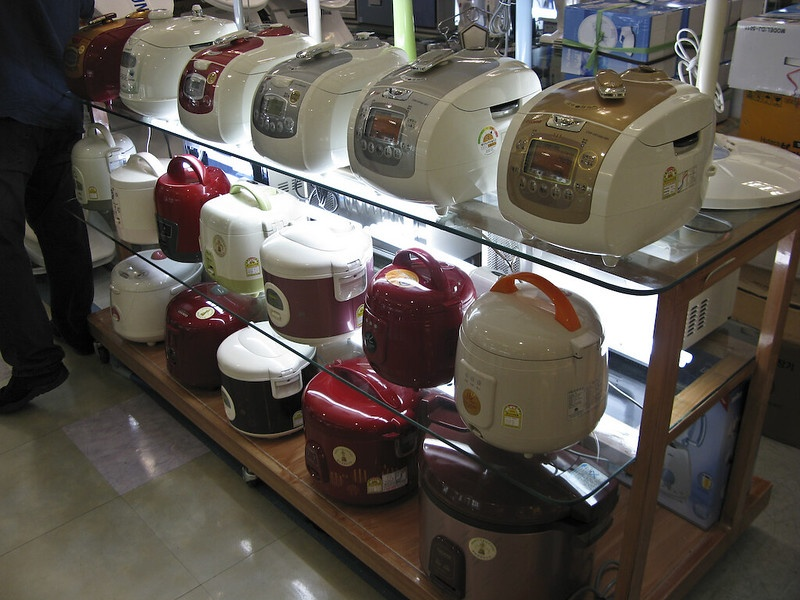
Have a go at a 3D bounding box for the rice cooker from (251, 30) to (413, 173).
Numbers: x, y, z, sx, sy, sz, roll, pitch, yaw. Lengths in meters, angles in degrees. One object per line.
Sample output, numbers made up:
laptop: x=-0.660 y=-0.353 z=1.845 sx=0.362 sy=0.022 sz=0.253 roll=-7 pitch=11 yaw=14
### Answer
rice cooker: x=-0.150 y=-0.471 z=1.449 sx=0.365 sy=0.274 sz=0.222 roll=-25 pitch=43 yaw=-33

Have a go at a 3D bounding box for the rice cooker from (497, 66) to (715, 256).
rice cooker: x=0.349 y=-0.252 z=1.020 sx=0.297 sy=0.243 sz=0.267 roll=-28 pitch=40 yaw=-35

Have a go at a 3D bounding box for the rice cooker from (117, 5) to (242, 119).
rice cooker: x=-0.655 y=-0.714 z=1.840 sx=0.352 sy=0.333 sz=0.260 roll=-18 pitch=40 yaw=-31

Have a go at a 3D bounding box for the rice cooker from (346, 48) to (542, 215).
rice cooker: x=0.095 y=-0.347 z=1.274 sx=0.351 sy=0.285 sz=0.257 roll=-28 pitch=44 yaw=-28
